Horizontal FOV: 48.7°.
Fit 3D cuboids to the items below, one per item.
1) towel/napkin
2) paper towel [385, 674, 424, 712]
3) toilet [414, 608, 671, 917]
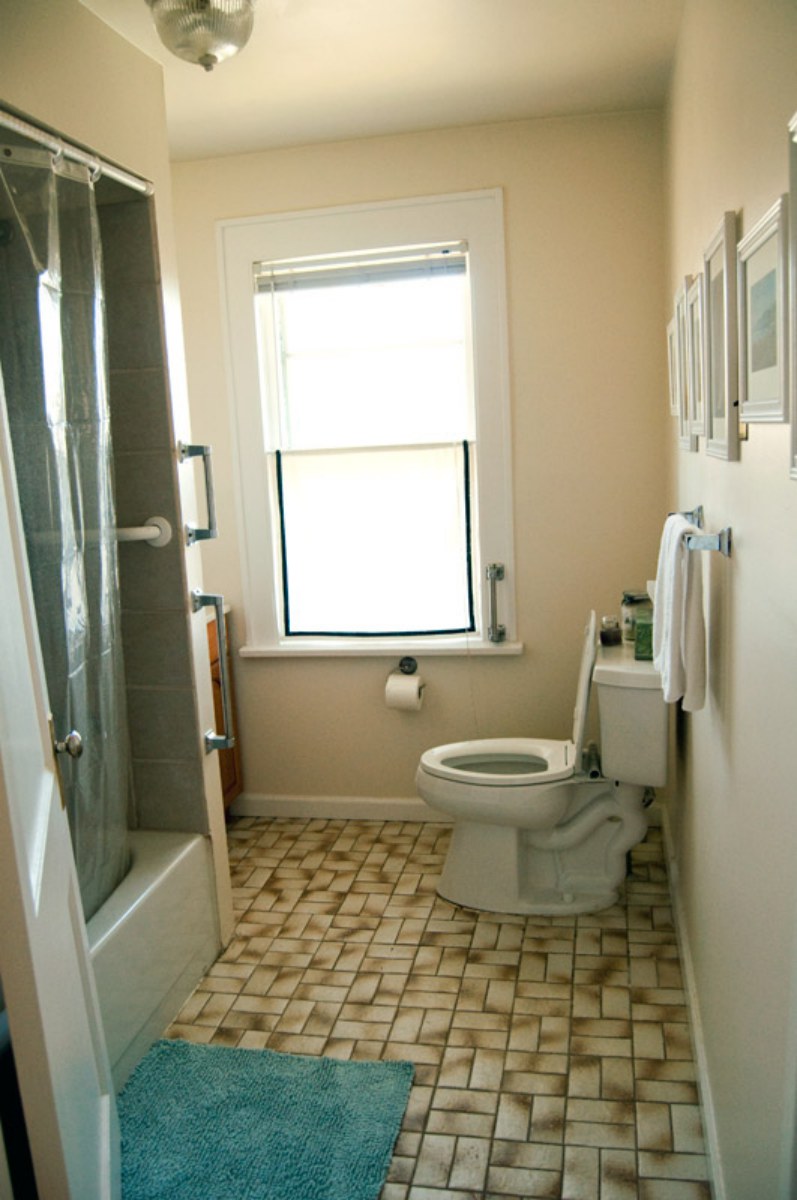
[{"bbox_3d":[0.529,0.029,1.657,0.102,0.403,0.464,-1,6,13],"label":"towel/napkin"},{"bbox_3d":[0.019,0.334,3.196,0.134,0.140,0.110,0,6,22],"label":"paper towel"},{"bbox_3d":[0.419,0.463,2.628,0.676,0.906,0.438,0,7,20],"label":"toilet"}]
